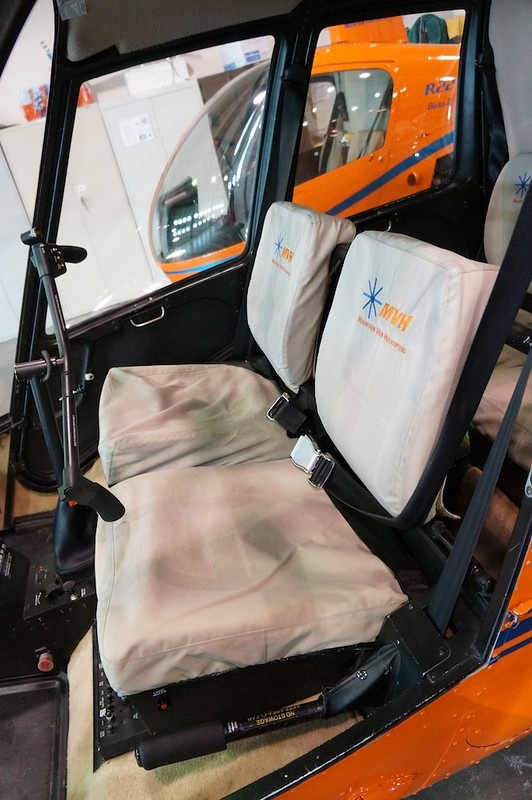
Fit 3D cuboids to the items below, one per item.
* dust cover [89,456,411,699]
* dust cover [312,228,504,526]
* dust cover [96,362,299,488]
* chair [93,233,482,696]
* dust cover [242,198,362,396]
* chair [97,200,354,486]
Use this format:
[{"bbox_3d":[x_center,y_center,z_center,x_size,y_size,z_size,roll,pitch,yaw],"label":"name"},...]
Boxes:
[{"bbox_3d":[-0.056,0.356,1.178,0.458,0.122,0.488,-6,32,-15],"label":"dust cover"},{"bbox_3d":[0.259,-0.104,1.180,0.166,0.503,0.512,-7,38,-13],"label":"dust cover"},{"bbox_3d":[-0.230,0.070,1.716,0.425,0.138,0.449,-8,30,-12],"label":"dust cover"},{"bbox_3d":[-0.054,0.020,1.426,0.755,0.937,1.044,-2,28,-16],"label":"chair"},{"bbox_3d":[0.093,-0.272,1.608,0.208,0.564,0.574,-6,28,-14],"label":"dust cover"},{"bbox_3d":[-0.165,-0.218,1.783,0.733,0.786,0.567,-6,23,-15],"label":"chair"}]
